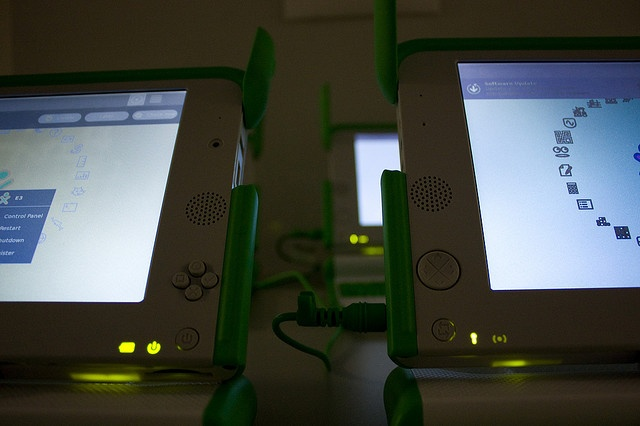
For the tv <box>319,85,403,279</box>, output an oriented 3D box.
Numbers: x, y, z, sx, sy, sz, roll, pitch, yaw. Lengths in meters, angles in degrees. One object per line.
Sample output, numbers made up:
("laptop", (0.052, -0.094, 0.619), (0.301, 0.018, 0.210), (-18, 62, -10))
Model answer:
("tv", (0.070, -0.076, 1.245), (0.259, 0.342, 0.078), (-1, -14, 5))
